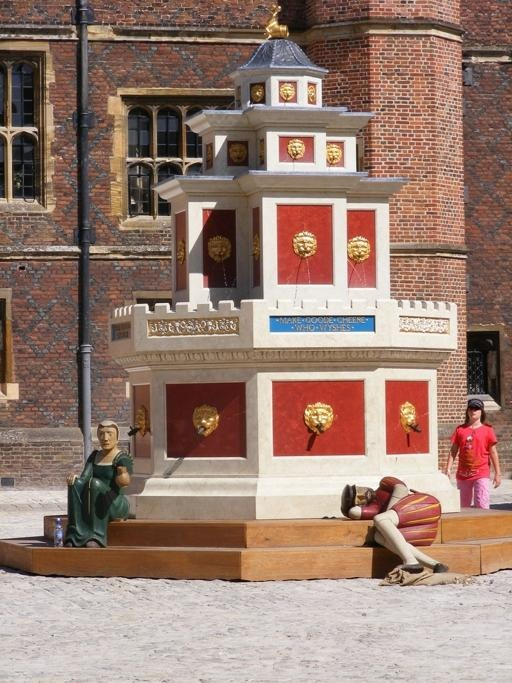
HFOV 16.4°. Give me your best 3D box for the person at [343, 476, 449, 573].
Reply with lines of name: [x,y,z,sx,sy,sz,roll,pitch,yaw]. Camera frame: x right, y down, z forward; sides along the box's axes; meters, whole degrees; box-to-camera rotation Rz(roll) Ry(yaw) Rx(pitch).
person: [1.191,1.532,14.924,0.714,0.701,0.965,-3,4,-16]

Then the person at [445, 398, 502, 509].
person: [2.107,1.130,17.580,0.513,1.097,0.706,-1,4,6]

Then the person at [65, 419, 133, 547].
person: [-1.366,1.228,15.309,0.572,1.032,0.482,-3,4,-23]
